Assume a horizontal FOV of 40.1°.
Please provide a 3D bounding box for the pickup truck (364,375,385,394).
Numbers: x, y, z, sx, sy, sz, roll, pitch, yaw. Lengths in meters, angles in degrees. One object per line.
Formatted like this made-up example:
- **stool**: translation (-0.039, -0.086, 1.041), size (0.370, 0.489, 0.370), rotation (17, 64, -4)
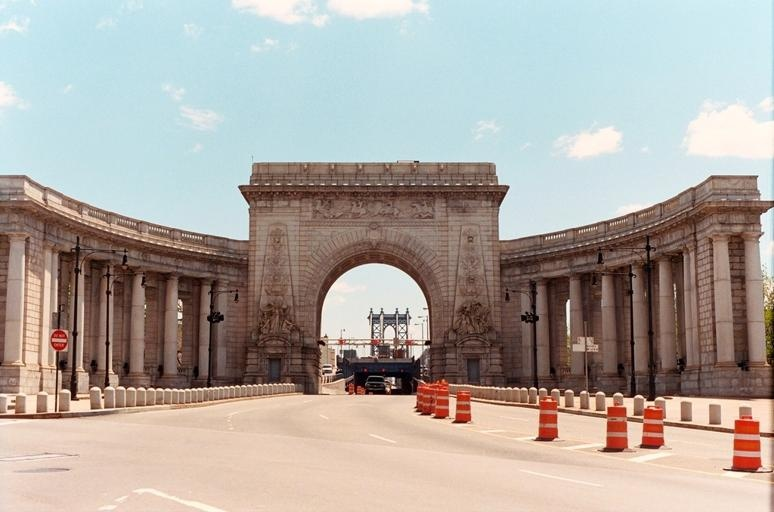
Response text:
- **pickup truck**: translation (-1.171, 14.039, 115.623), size (2.001, 1.956, 3.838), rotation (2, -12, -3)

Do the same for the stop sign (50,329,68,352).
- **stop sign**: translation (-19.222, 4.915, 62.371), size (0.748, 1.255, 1.561), rotation (3, -13, -9)
